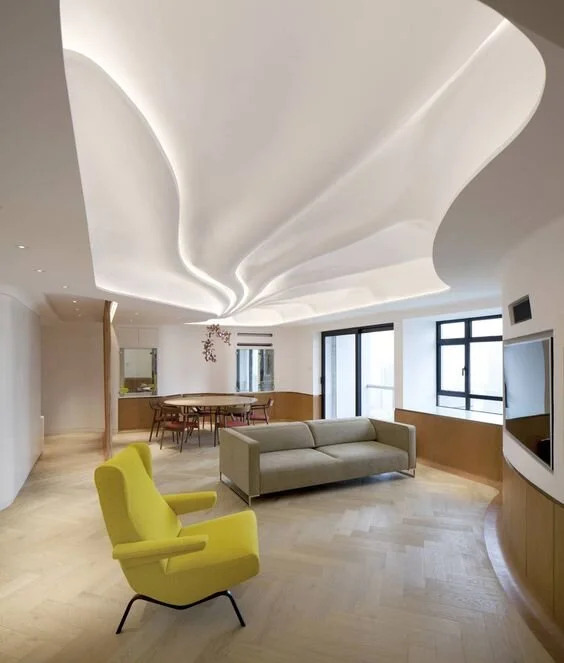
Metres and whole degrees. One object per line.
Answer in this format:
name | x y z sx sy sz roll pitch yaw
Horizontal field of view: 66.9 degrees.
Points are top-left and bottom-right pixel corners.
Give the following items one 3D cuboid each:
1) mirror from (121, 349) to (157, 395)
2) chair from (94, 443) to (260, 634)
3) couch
mirror | -3.451 0.961 10.139 0.130 1.310 0.775 -5 -9 39
chair | -0.680 1.400 2.967 0.960 1.255 1.017 -5 -1 11
couch | 0.476 1.671 5.774 2.490 0.759 0.992 1 -3 -24
